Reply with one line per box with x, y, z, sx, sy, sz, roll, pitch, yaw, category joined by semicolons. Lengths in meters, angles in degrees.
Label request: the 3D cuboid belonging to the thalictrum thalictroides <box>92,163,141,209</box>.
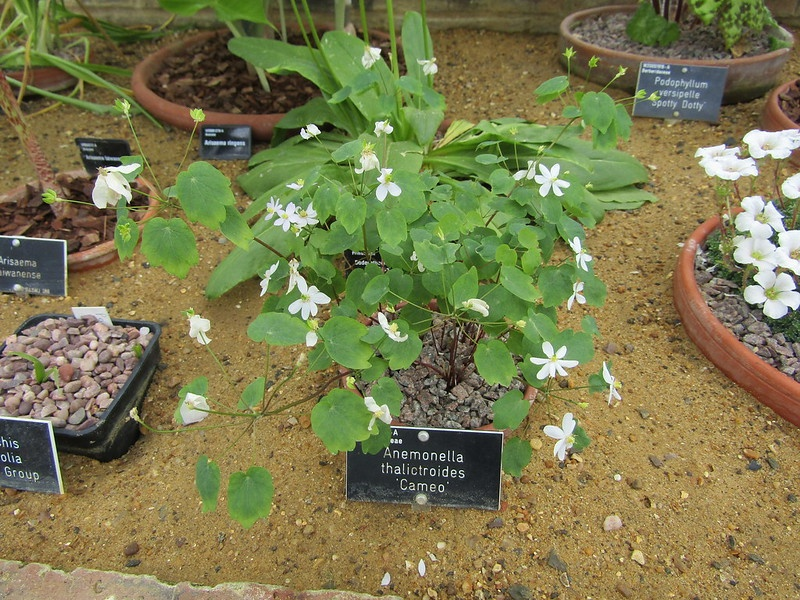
-0.736;-0.286;1.557;0.110;0.130;0.079;-20;19;-9;thalictrum thalictroides

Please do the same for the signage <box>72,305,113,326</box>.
-1.094;0.061;2.097;0.068;0.075;0.008;11;50;-2;signage
